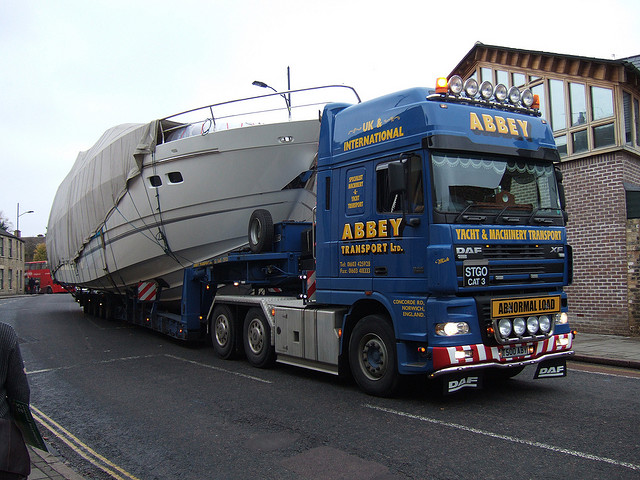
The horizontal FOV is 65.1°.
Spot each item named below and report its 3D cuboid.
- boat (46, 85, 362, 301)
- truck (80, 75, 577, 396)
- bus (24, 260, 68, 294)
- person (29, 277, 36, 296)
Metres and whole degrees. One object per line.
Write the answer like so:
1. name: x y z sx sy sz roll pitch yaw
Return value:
1. boat: -4.436 -1.550 15.848 4.168 5.163 12.065 -3 -10 -40
2. truck: -0.777 0.158 11.332 3.255 5.020 11.311 1 -3 -33
3. bus: -32.690 4.185 60.059 6.217 4.104 2.173 -2 3 15
4. person: -33.114 5.276 57.965 0.318 1.709 1.497 -4 -4 8
